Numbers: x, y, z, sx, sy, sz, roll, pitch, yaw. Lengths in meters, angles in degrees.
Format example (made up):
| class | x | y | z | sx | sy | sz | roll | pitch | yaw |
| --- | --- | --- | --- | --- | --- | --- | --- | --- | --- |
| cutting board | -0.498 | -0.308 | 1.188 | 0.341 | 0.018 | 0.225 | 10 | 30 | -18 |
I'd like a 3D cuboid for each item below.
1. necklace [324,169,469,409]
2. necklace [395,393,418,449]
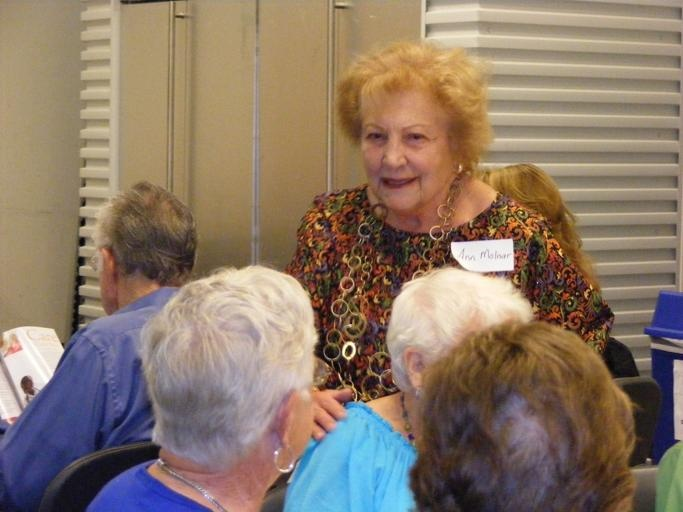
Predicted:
| class | x | y | z | sx | sy | sz | roll | pitch | yaw |
| --- | --- | --- | --- | --- | --- | --- | --- | --- | --- |
| necklace | 0.102 | 0.142 | 2.630 | 0.456 | 0.743 | 0.171 | -1 | -9 | 8 |
| necklace | 0.167 | 0.433 | 2.040 | 0.023 | 0.155 | 0.022 | 0 | -22 | -26 |
